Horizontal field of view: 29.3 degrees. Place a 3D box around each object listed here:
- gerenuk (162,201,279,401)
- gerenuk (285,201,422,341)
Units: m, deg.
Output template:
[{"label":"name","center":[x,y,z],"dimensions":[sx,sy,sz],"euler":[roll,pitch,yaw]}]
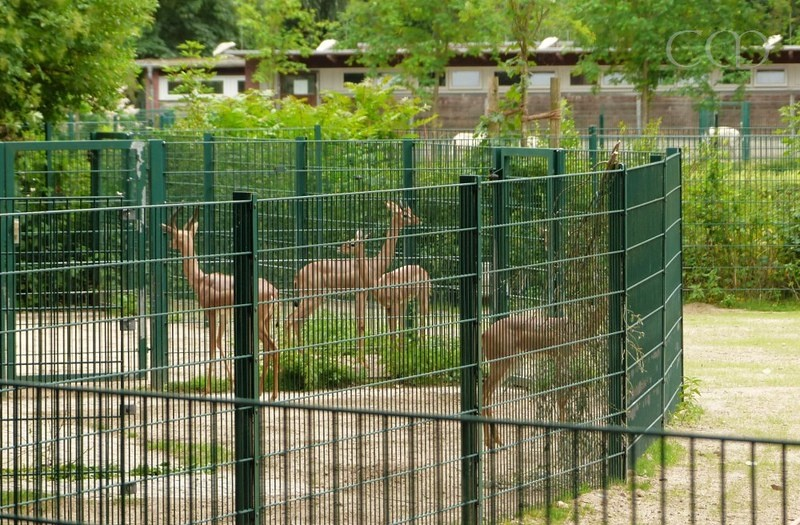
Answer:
[{"label":"gerenuk","center":[-2.166,0.510,18.367],"dimensions":[1.489,2.290,0.905],"euler":[4,9,39]},{"label":"gerenuk","center":[-0.539,0.165,18.413],"dimensions":[1.577,1.958,0.441],"euler":[-1,23,-7]}]
